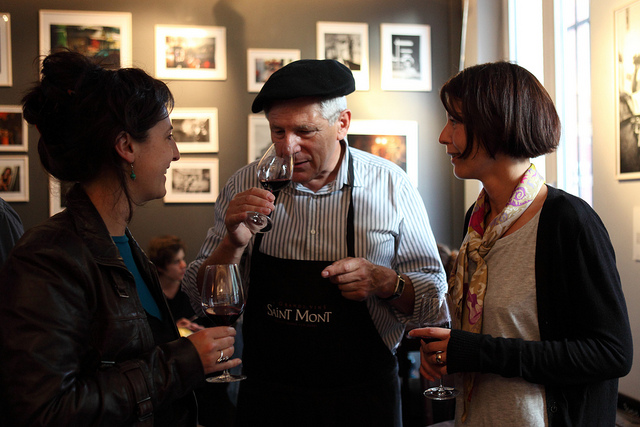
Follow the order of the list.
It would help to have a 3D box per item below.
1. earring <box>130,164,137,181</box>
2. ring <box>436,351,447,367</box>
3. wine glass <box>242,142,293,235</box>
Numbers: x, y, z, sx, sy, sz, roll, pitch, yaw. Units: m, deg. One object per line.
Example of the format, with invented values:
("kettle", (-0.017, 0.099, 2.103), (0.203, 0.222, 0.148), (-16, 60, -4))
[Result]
("earring", (-0.673, -0.145, 2.114), (0.023, 0.057, 0.009), (-5, 7, -33))
("ring", (0.433, 0.533, 2.134), (0.021, 0.038, 0.050), (-7, 8, -11))
("wine glass", (-0.213, -0.091, 2.421), (0.204, 0.398, 0.342), (-1, 6, -2))
